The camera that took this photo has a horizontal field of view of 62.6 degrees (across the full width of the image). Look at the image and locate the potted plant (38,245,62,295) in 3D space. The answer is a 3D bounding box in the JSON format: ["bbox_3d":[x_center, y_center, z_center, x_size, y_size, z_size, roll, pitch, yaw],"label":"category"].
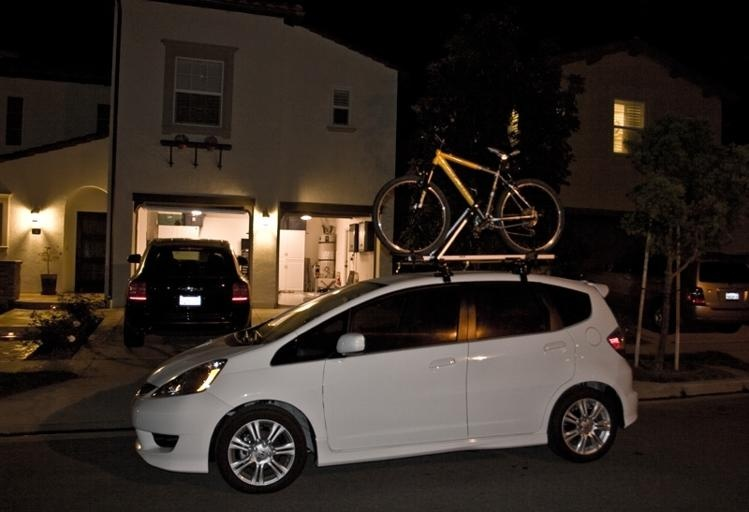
[{"bbox_3d":[-10.856,0.416,20.674,0.576,1.680,0.604,-2,7,-22],"label":"potted plant"}]

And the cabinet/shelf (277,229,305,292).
[{"bbox_3d":[-2.980,0.242,21.193,1.114,2.026,0.687,1,-15,-6],"label":"cabinet/shelf"}]
